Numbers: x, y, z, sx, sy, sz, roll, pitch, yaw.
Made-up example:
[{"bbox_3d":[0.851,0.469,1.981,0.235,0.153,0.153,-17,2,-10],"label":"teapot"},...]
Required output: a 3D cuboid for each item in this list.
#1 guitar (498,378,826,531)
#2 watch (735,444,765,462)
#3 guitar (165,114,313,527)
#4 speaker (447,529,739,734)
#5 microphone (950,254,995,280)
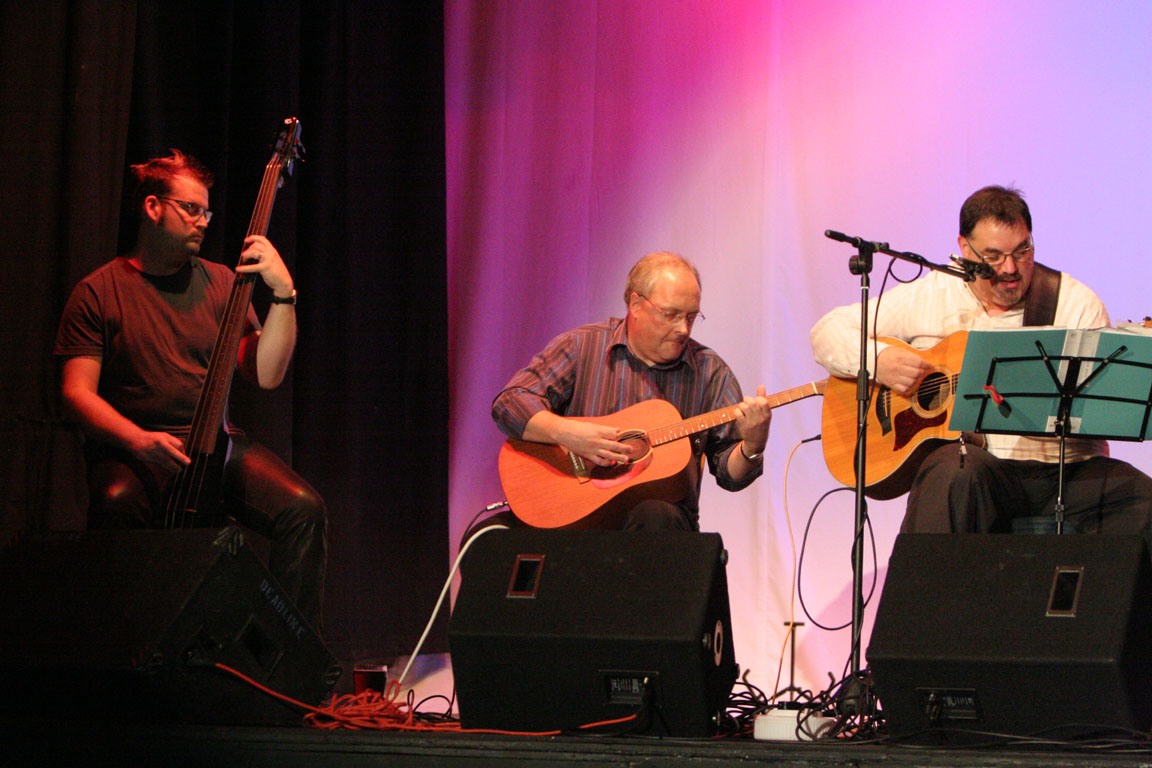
[{"bbox_3d":[0.366,0.342,5.047,1.307,0.534,0.186,-21,-32,7],"label":"guitar"},{"bbox_3d":[0.643,0.256,4.820,0.060,0.034,0.089,16,-5,4],"label":"watch"},{"bbox_3d":[-1.288,-0.225,4.907,0.428,1.483,0.168,21,-22,-41],"label":"guitar"},{"bbox_3d":[0.034,0.768,4.112,0.792,0.596,0.635,-2,-3,17],"label":"speaker"},{"bbox_3d":[1.392,-0.408,4.570,0.132,0.092,0.301,4,0,16],"label":"microphone"}]
